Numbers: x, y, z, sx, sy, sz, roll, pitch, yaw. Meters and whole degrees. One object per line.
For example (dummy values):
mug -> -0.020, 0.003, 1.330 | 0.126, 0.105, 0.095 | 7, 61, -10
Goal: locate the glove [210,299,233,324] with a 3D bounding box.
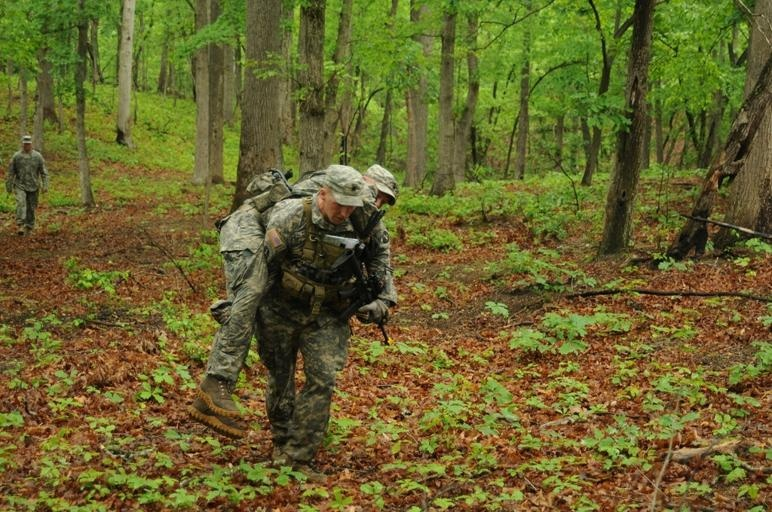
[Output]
glove -> -3.027, 1.046, 14.599 | 0.369, 0.452, 0.274 | 5, 15, 2

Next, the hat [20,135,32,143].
hat -> -11.025, -3.612, 24.349 | 0.238, 0.213, 0.680 | -1, 16, -20

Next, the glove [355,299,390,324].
glove -> -0.268, 1.092, 15.067 | 0.562, 0.257, 0.447 | -9, -20, 7
